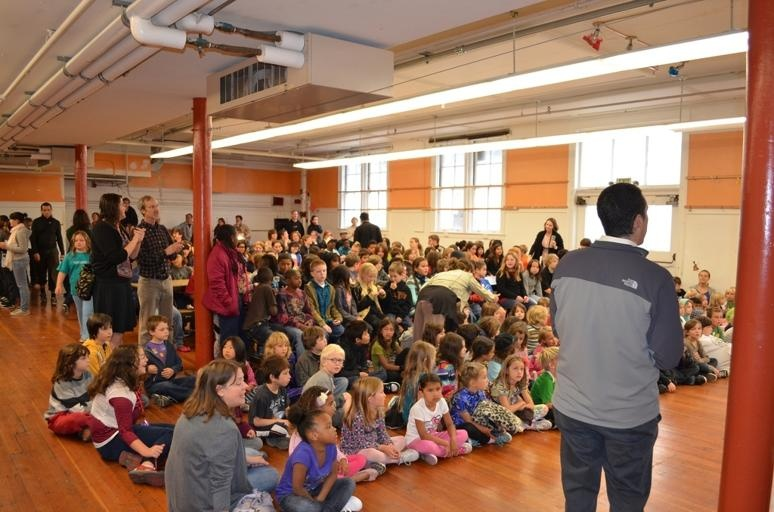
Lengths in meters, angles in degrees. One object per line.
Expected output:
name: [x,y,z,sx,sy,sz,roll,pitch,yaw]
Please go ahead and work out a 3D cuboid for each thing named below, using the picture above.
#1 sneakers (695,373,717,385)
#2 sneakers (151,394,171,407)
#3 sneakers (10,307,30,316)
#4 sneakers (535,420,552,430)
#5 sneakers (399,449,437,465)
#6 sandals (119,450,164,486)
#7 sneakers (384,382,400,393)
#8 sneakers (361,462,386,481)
sneakers: [4.042,1.563,7.440,0.331,0.126,0.132,-2,13,-6]
sneakers: [-2.435,1.557,6.327,0.224,0.091,0.102,14,16,35]
sneakers: [-6.257,0.962,10.002,0.278,0.122,0.146,4,0,-25]
sneakers: [1.594,1.734,6.019,0.143,0.066,0.112,5,2,-8]
sneakers: [0.263,1.830,5.416,0.385,0.168,0.130,-5,8,11]
sandals: [-2.142,1.856,5.115,0.523,0.213,0.185,2,4,12]
sneakers: [0.048,1.521,6.775,0.148,0.058,0.122,1,0,-36]
sneakers: [-0.126,1.885,5.178,0.099,0.093,0.234,-3,1,38]
